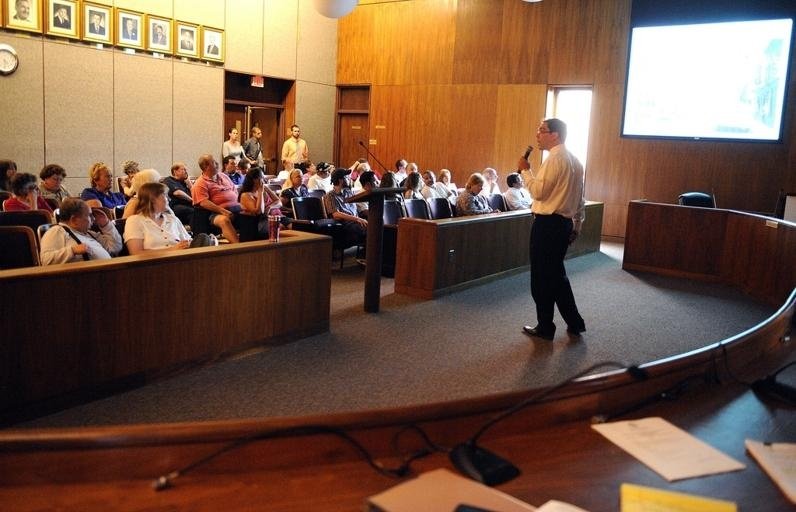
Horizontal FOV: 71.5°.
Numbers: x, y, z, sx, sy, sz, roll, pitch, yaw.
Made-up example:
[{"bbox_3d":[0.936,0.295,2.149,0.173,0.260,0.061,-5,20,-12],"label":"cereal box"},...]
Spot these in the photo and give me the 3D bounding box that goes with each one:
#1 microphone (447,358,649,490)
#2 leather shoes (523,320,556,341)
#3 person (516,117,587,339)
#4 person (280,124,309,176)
[{"bbox_3d":[0.441,0.620,2.012,0.542,0.234,0.228,-5,14,-30],"label":"microphone"},{"bbox_3d":[1.260,0.656,4.934,0.109,0.138,0.314,-3,10,-37],"label":"leather shoes"},{"bbox_3d":[1.379,-0.211,4.749,0.587,1.870,0.326,3,12,5],"label":"person"},{"bbox_3d":[-2.270,-2.051,12.246,0.640,1.575,0.424,-5,14,-31],"label":"person"}]
